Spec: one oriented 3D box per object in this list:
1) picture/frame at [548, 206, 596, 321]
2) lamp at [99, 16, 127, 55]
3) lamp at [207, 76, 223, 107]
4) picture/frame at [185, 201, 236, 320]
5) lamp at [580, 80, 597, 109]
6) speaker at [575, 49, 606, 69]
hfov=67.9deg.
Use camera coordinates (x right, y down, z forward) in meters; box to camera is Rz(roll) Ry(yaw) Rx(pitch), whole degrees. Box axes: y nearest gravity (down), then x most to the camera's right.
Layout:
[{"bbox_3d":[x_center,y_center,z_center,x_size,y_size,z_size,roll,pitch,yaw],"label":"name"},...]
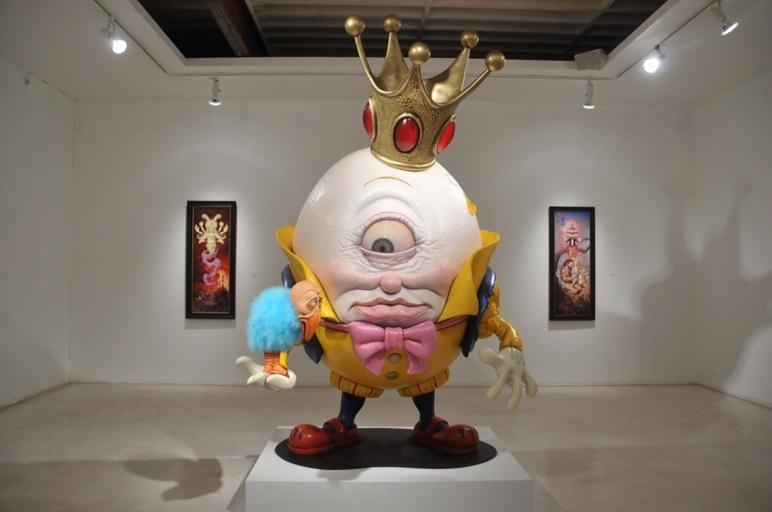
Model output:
[{"bbox_3d":[1.922,0.085,5.920,0.477,1.148,0.283,3,10,16],"label":"picture/frame"},{"bbox_3d":[-2.348,-1.892,4.965,0.196,0.276,0.449,-4,11,-23],"label":"lamp"},{"bbox_3d":[-1.715,-1.647,5.759,0.120,0.280,0.388,-3,11,-17],"label":"lamp"},{"bbox_3d":[-1.786,0.049,5.868,0.523,1.176,0.311,-3,10,-18],"label":"picture/frame"},{"bbox_3d":[2.023,-1.602,5.712,0.132,0.263,0.449,3,11,18],"label":"lamp"},{"bbox_3d":[1.932,-1.846,5.390,0.318,0.155,0.237,1,10,3],"label":"speaker"}]
